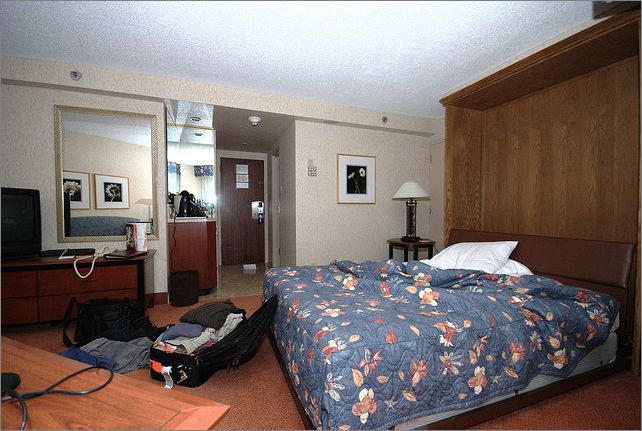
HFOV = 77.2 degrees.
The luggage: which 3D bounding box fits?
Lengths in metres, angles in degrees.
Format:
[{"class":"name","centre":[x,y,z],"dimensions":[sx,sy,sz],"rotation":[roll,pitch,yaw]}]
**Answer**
[{"class":"luggage","centre":[-0.919,1.117,3.824],"dimensions":[0.784,0.377,1.052],"rotation":[-1,2,27]}]

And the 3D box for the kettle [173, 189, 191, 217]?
[{"class":"kettle","centre":[-2.053,-0.185,5.962],"dimensions":[0.246,0.391,0.429],"rotation":[-2,3,-20]}]

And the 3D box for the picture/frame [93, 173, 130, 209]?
[{"class":"picture/frame","centre":[-2.704,-0.308,5.206],"dimensions":[0.392,0.470,0.020],"rotation":[1,-25,-35]}]

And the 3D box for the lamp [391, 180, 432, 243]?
[{"class":"lamp","centre":[1.374,-0.069,6.078],"dimensions":[0.611,0.863,0.609],"rotation":[0,-1,20]}]

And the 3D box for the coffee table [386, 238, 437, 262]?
[{"class":"coffee table","centre":[1.371,0.458,5.989],"dimensions":[0.510,0.533,0.512],"rotation":[1,0,-18]}]

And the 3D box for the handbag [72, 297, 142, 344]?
[{"class":"handbag","centre":[-2.313,1.042,4.343],"dimensions":[0.614,0.446,0.447],"rotation":[3,-17,-15]}]

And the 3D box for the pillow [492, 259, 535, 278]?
[{"class":"pillow","centre":[2.094,0.570,4.326],"dimensions":[0.214,0.072,0.237],"rotation":[-35,34,-21]}]

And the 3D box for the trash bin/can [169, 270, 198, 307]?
[{"class":"trash bin/can","centre":[-1.866,0.952,5.472],"dimensions":[0.388,0.433,0.384],"rotation":[-3,10,-30]}]

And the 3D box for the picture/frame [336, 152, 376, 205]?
[{"class":"picture/frame","centre":[0.526,-0.595,6.319],"dimensions":[0.830,0.892,0.066],"rotation":[1,0,-26]}]
